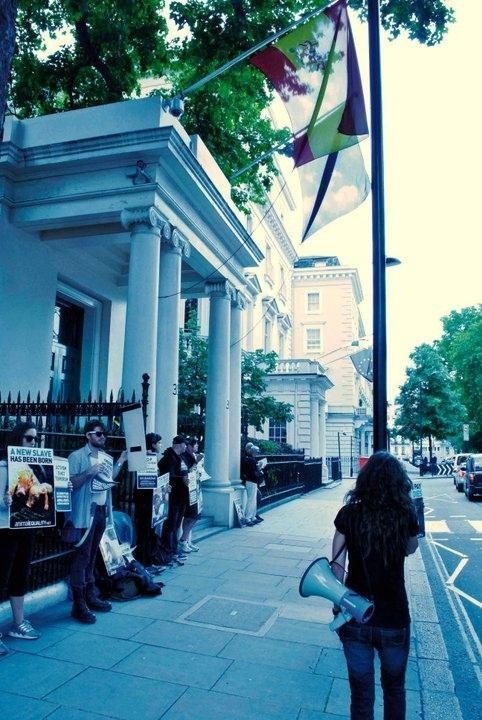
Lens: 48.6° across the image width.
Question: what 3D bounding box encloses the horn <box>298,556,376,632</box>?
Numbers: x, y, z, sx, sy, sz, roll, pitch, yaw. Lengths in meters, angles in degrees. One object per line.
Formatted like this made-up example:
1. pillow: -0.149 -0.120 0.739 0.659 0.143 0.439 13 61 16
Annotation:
1. horn: 0.422 1.018 2.325 0.300 0.306 0.203 -2 -10 21

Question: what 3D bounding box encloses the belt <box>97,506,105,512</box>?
1. belt: -1.402 1.472 5.318 0.063 0.057 0.070 -1 -1 -17
